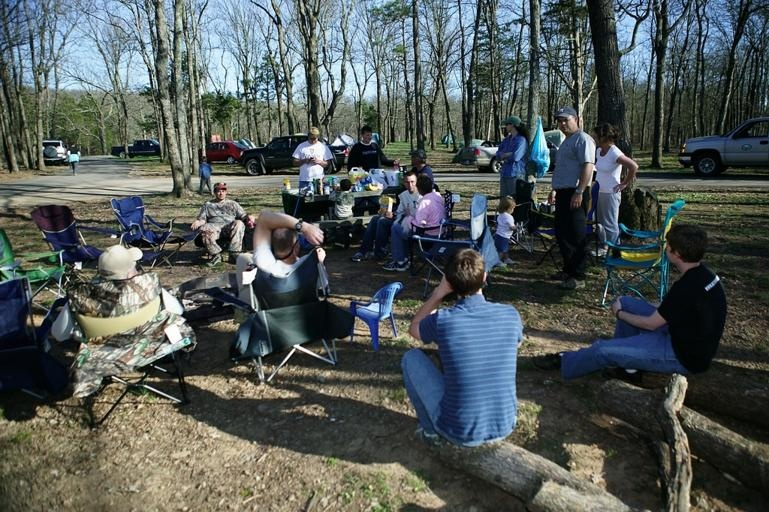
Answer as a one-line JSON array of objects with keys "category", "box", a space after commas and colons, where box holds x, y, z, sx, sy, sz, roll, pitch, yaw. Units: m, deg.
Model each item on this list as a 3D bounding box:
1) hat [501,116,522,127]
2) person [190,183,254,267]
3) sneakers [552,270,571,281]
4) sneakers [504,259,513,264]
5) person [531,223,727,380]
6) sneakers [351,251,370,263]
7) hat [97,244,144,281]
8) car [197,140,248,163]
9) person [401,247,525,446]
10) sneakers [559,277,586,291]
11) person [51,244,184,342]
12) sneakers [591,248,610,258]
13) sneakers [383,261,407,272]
[{"category": "hat", "box": [2.114, -2.235, 10.056, 0.233, 0.126, 0.176, 16, 32, 10]}, {"category": "person", "box": [-2.559, -0.564, 9.585, 0.881, 1.260, 0.940, 5, 8, 42]}, {"category": "sneakers", "box": [2.483, 0.271, 8.650, 0.083, 0.116, 0.257, -3, 6, -12]}, {"category": "sneakers", "box": [1.908, 0.074, 9.354, 0.173, 0.081, 0.063, -1, 8, 39]}, {"category": "person", "box": [2.525, 0.525, 6.397, 1.846, 1.685, 0.843, 1, 12, 40]}, {"category": "sneakers", "box": [-0.376, 0.002, 9.769, 0.282, 0.139, 0.119, 2, 2, -33]}, {"category": "hat", "box": [-2.682, 0.056, 6.264, 0.267, 0.242, 0.414, 11, 36, 3]}, {"category": "car", "box": [-6.715, -4.469, 25.974, 2.575, 0.933, 1.210, 7, 18, 17]}, {"category": "person", "box": [0.706, 0.860, 5.480, 0.996, 1.787, 0.449, 1, 15, 12]}, {"category": "sneakers", "box": [2.538, 0.376, 8.255, 0.335, 0.167, 0.140, 1, 7, 10]}, {"category": "person", "box": [-2.814, 0.302, 6.628, 1.069, 0.880, 1.396, -10, 13, -12]}, {"category": "sneakers", "box": [3.207, -0.048, 9.063, 0.326, 0.158, 0.121, -5, 10, 28]}, {"category": "sneakers", "box": [0.165, 0.152, 9.253, 0.383, 0.197, 0.149, 2, 5, 2]}]
